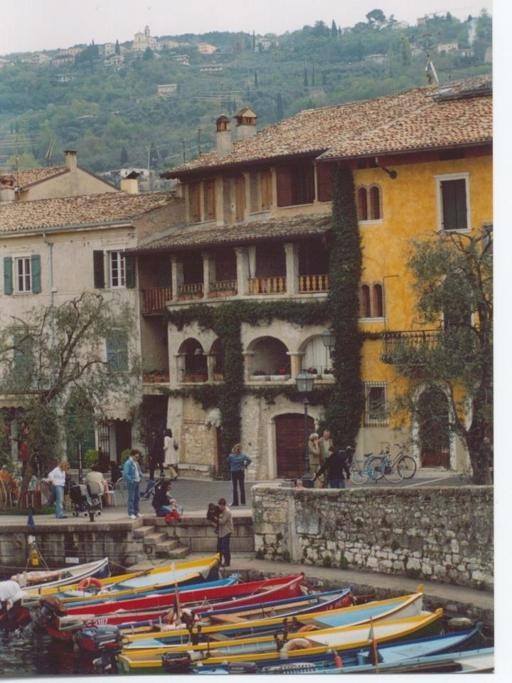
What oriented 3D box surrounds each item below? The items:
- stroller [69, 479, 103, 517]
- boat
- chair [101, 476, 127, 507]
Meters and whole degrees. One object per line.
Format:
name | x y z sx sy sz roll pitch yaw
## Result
stroller | -4.557 4.273 46.350 0.658 1.152 0.854 -2 -5 16
boat | 0.014 6.507 39.961 7.064 1.891 1.763 3 -7 3
chair | -4.048 4.373 49.130 0.630 1.050 0.688 0 -12 -3
